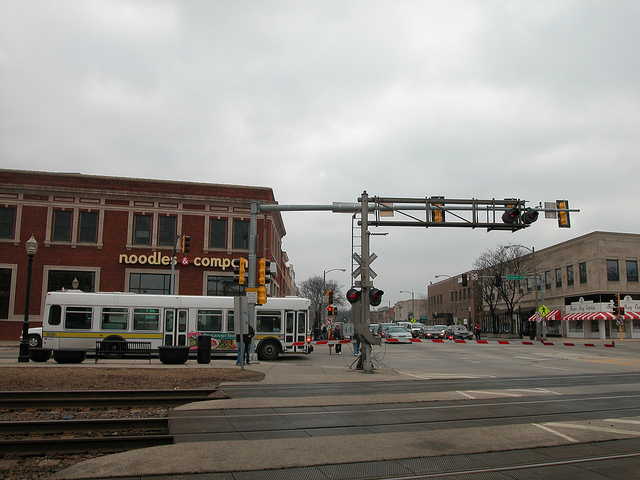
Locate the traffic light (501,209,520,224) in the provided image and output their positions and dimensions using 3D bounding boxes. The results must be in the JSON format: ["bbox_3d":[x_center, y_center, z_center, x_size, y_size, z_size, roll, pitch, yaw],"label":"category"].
[{"bbox_3d":[7.679,-0.922,23.863,0.402,0.518,0.652,8,-14,-41],"label":"traffic light"}]

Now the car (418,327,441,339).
[{"bbox_3d":[11.163,9.457,60.923,1.642,1.186,5.163,-1,-11,1],"label":"car"}]

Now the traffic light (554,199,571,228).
[{"bbox_3d":[9.515,-1.007,23.290,0.515,1.115,0.599,-4,-11,18],"label":"traffic light"}]

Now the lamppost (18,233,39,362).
[{"bbox_3d":[-13.244,2.612,26.925,0.836,5.769,0.915,-1,-6,41],"label":"lamppost"}]

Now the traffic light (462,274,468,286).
[{"bbox_3d":[15.056,3.948,61.799,0.468,0.980,2.657,-3,-11,13],"label":"traffic light"}]

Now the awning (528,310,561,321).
[{"bbox_3d":[25.504,8.624,67.986,3.355,1.267,3.459,-2,-11,5],"label":"awning"}]

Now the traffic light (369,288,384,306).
[{"bbox_3d":[2.158,2.204,23.189,0.488,0.660,1.200,-2,-11,4],"label":"traffic light"}]

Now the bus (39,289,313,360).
[{"bbox_3d":[-5.914,3.712,29.487,15.189,4.017,3.558,-2,14,22],"label":"bus"}]

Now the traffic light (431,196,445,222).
[{"bbox_3d":[4.698,-1.192,23.739,0.493,0.972,0.495,-2,-10,7],"label":"traffic light"}]

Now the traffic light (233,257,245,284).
[{"bbox_3d":[-3.479,1.304,25.305,0.431,1.074,0.843,1,-11,-9],"label":"traffic light"}]

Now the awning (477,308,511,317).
[{"bbox_3d":[24.757,10.189,84.731,2.727,1.484,10.906,-2,-11,6],"label":"awning"}]

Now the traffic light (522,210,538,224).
[{"bbox_3d":[8.450,-0.932,23.869,0.531,0.484,0.416,-2,-11,7],"label":"traffic light"}]

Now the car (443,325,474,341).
[{"bbox_3d":[13.500,9.093,58.656,2.651,1.391,4.889,-3,-11,11],"label":"car"}]

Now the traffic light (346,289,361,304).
[{"bbox_3d":[1.273,2.219,23.656,0.382,0.502,0.666,-9,-13,38],"label":"traffic light"}]

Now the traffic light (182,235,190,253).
[{"bbox_3d":[-7.613,0.173,33.353,0.308,0.859,0.775,4,-11,-23],"label":"traffic light"}]

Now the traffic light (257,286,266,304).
[{"bbox_3d":[-2.568,2.335,25.484,0.352,0.732,0.283,-3,-10,10],"label":"traffic light"}]

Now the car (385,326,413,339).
[{"bbox_3d":[6.490,7.813,50.393,1.977,1.186,3.667,-1,-11,-1],"label":"car"}]
